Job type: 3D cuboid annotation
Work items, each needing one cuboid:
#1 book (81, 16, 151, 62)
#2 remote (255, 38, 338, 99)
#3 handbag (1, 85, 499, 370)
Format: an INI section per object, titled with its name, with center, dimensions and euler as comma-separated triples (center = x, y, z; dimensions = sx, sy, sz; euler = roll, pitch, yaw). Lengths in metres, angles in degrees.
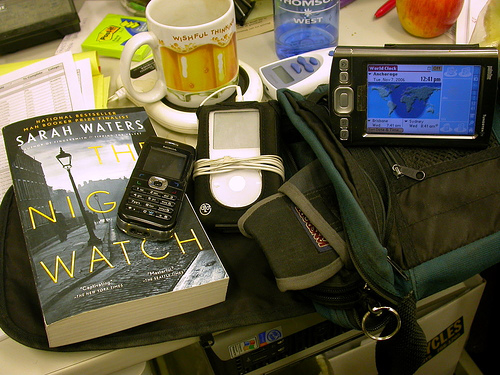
[book]
center = -0.268, -0.307, 0.882
dimensions = 0.154, 0.036, 0.151
euler = 6, 47, 15
[remote]
center = 0.087, -0.208, 0.750
dimensions = 0.160, 0.034, 0.086
euler = -24, 60, -4
[handbag]
center = 0.136, 0.119, 0.882
dimensions = 0.691, 0.192, 0.368
euler = -15, 74, -5
